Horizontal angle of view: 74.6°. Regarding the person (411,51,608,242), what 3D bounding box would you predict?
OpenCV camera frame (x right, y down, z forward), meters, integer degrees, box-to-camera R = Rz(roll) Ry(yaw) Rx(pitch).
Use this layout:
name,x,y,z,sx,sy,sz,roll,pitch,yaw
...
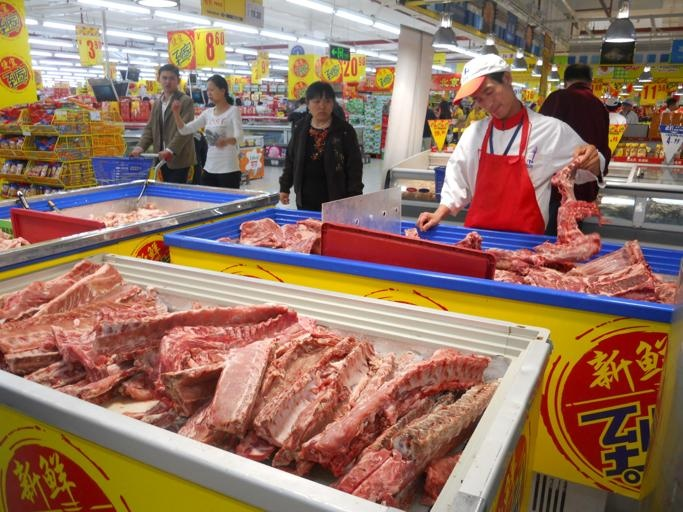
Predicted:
name,x,y,z,sx,sy,sz,roll,pitch,yaw
person,1.176,-0.760,3.128,1.066,1.209,0.546,6,16,12

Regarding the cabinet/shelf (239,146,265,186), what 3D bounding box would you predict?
name,x,y,z,sx,sy,sz,roll,pitch,yaw
cabinet/shelf,-2.622,-2.624,12.631,0.861,0.862,0.463,-19,30,-41

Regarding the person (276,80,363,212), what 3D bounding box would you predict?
name,x,y,z,sx,sy,sz,roll,pitch,yaw
person,-0.203,-1.098,4.595,0.876,1.274,0.419,4,15,4

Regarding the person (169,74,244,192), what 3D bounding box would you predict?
name,x,y,z,sx,sy,sz,roll,pitch,yaw
person,-1.637,-1.527,5.600,0.770,1.376,0.770,-2,16,-17

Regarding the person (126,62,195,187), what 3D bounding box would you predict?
name,x,y,z,sx,sy,sz,roll,pitch,yaw
person,-2.253,-1.290,5.785,0.781,2.147,0.705,-9,17,-44

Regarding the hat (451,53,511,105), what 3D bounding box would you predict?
name,x,y,z,sx,sy,sz,roll,pitch,yaw
hat,0.982,-1.198,3.049,0.371,0.197,0.283,-17,-18,18

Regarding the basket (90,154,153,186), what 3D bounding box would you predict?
name,x,y,z,sx,sy,sz,roll,pitch,yaw
basket,-2.317,-0.879,4.743,0.798,0.327,0.297,14,19,32
